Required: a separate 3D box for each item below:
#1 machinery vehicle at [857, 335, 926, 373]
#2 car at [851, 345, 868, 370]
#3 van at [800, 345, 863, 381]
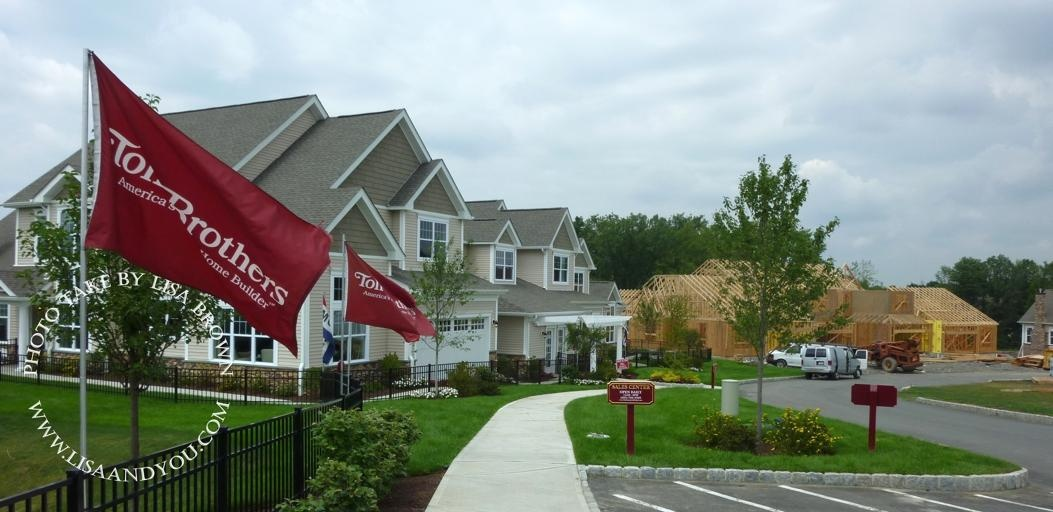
[{"bbox_3d":[28.431,7.537,80.953,2.545,2.293,5.343,2,0,-38],"label":"machinery vehicle"},{"bbox_3d":[24.413,7.409,77.245,1.444,1.722,1.872,2,2,-11],"label":"car"},{"bbox_3d":[21.720,7.502,75.343,3.528,1.601,2.378,-2,1,-45],"label":"van"}]
